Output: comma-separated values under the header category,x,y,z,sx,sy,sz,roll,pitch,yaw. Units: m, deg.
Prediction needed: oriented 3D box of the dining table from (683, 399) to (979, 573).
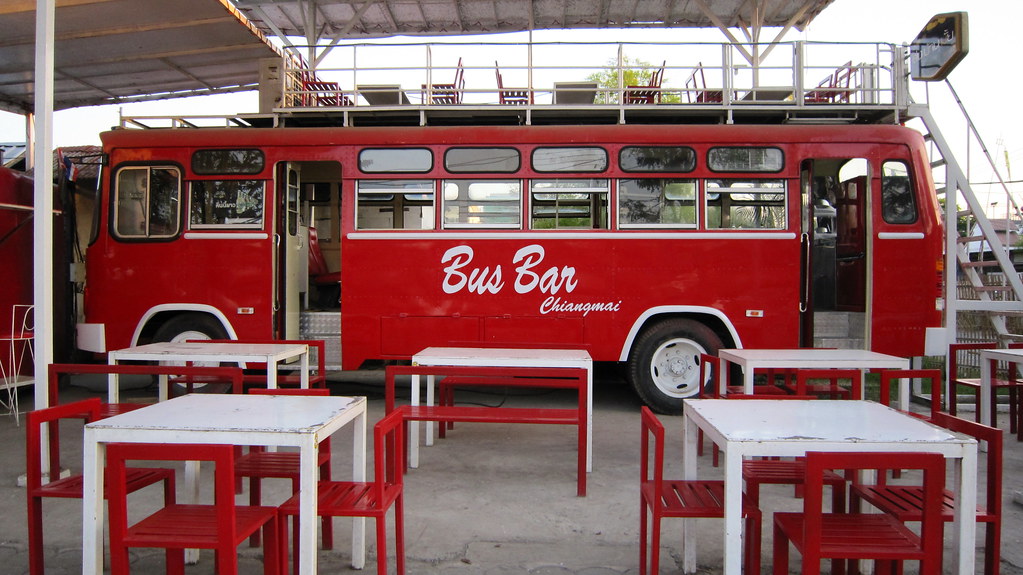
category,x,y,z,sx,sy,sz,roll,pitch,yaw
dining table,3.610,2.523,10.690,2.411,1.778,2.454,0,3,-2

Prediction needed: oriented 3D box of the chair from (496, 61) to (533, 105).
category,x,y,z,sx,sy,sz,roll,pitch,yaw
chair,0.077,-3.412,15.246,0.626,0.606,1.035,-1,-2,1

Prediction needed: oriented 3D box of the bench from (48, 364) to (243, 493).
category,x,y,z,sx,sy,sz,roll,pitch,yaw
bench,-4.691,1.842,10.993,1.893,1.153,0.667,0,-3,-4

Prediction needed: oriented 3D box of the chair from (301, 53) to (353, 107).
category,x,y,z,sx,sy,sz,roll,pitch,yaw
chair,-3.498,-3.639,15.883,0.850,1.082,1.999,-1,-2,-13

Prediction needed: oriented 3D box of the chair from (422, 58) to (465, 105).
category,x,y,z,sx,sy,sz,roll,pitch,yaw
chair,-1.285,-3.684,15.774,0.738,0.792,1.426,-1,-2,-6

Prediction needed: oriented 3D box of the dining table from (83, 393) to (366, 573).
category,x,y,z,sx,sy,sz,roll,pitch,yaw
dining table,-3.219,2.529,10.894,2.508,1.911,2.657,1,-2,3

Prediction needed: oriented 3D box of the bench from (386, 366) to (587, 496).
category,x,y,z,sx,sy,sz,roll,pitch,yaw
bench,-0.259,2.018,12.564,2.828,1.814,2.301,-2,-2,10

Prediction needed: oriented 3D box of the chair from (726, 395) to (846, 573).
category,x,y,z,sx,sy,sz,roll,pitch,yaw
chair,3.570,2.429,10.871,1.901,1.392,1.898,0,-3,2
